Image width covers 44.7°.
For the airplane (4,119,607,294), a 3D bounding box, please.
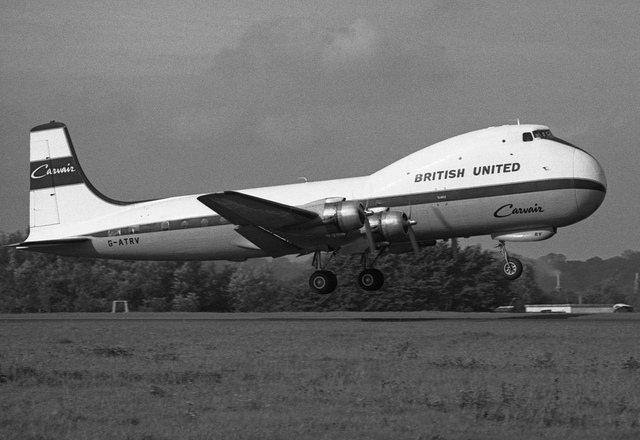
[{"bbox_3d":[-0.155,-0.354,26.401,14.146,2.596,11.787,-2,1,20],"label":"airplane"}]
